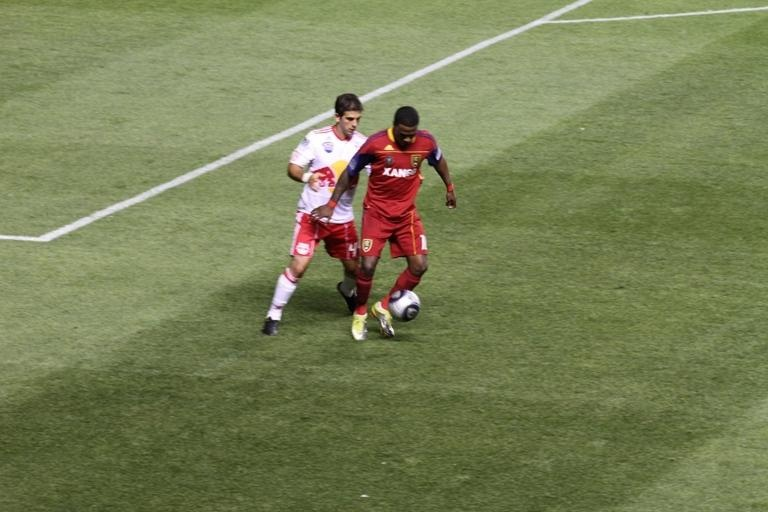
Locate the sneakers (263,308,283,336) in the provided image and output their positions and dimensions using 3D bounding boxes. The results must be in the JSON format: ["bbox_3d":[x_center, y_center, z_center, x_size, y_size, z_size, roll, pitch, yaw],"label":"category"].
[{"bbox_3d":[-1.176,0.723,11.020,0.173,0.104,0.337,3,11,-8],"label":"sneakers"}]

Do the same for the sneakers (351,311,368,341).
[{"bbox_3d":[-0.255,0.736,11.049,0.195,0.154,0.283,1,58,-14],"label":"sneakers"}]

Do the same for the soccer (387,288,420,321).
[{"bbox_3d":[0.187,0.549,11.042,0.335,0.421,0.263,13,34,-2],"label":"soccer"}]
